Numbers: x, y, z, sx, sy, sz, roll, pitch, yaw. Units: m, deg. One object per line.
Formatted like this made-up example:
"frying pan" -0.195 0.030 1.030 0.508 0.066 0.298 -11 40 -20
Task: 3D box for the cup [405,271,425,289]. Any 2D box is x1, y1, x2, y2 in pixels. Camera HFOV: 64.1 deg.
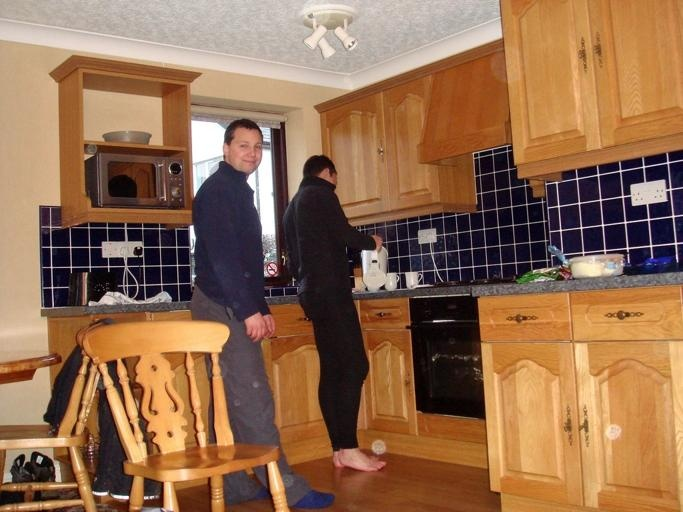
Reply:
"cup" 0.535 0.178 3.982 0.177 0.131 0.109 2 -7 -32

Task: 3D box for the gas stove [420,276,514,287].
"gas stove" 0.880 0.167 3.604 0.486 0.031 0.819 -5 -4 17

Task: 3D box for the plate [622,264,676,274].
"plate" 1.365 0.055 2.417 0.069 0.038 0.216 -1 -5 -39

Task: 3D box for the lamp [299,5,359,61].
"lamp" -0.080 -1.503 3.641 0.344 0.181 0.304 -6 -6 11

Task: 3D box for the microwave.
"microwave" -1.458 -0.397 3.744 0.664 0.353 0.430 -2 3 -39

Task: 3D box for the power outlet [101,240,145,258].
"power outlet" -1.539 -0.047 3.824 0.272 0.117 0.030 -2 -5 -26

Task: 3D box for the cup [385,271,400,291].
"cup" 0.365 0.179 3.945 0.090 0.127 0.302 -5 -4 4

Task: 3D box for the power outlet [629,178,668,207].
"power outlet" 1.591 -0.331 2.803 0.186 0.114 0.008 2 4 41

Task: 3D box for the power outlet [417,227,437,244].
"power outlet" 0.670 -0.154 4.211 0.016 0.121 0.178 -2 -4 -41

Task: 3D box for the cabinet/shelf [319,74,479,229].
"cabinet/shelf" 0.459 -0.738 3.958 0.536 1.028 1.421 0 -5 -41
